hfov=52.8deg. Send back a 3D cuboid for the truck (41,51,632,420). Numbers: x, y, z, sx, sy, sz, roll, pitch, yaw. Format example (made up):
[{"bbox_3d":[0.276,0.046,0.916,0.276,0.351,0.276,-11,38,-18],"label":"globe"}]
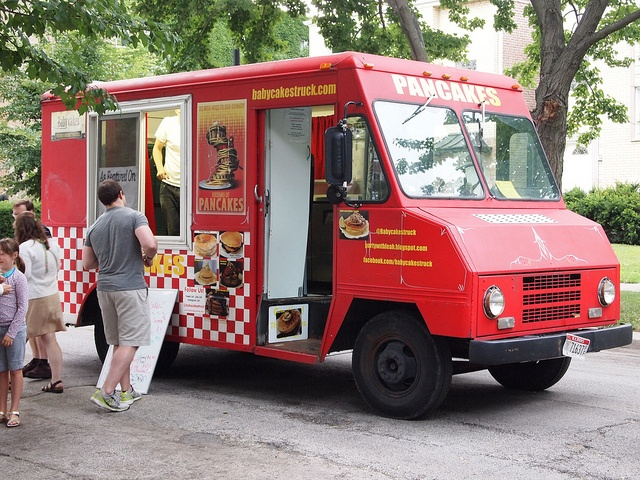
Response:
[{"bbox_3d":[-0.165,-0.243,8.254,6.511,3.644,3.569,-2,0,44],"label":"truck"}]

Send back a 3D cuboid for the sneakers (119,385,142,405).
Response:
[{"bbox_3d":[-2.085,1.715,7.117,0.094,0.111,0.241,2,1,21],"label":"sneakers"}]

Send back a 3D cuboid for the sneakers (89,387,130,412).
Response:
[{"bbox_3d":[-2.217,1.695,6.872,0.449,0.209,0.175,26,5,-29],"label":"sneakers"}]

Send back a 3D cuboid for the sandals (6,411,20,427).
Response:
[{"bbox_3d":[-3.025,1.747,6.366,0.125,0.152,0.203,-1,2,-23],"label":"sandals"}]

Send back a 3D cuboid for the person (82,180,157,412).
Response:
[{"bbox_3d":[-2.160,0.581,6.992,0.767,2.465,0.738,-1,2,-12],"label":"person"}]

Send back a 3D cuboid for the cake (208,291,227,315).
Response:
[{"bbox_3d":[-1.208,0.709,7.523,0.258,0.285,0.257,0,1,-32],"label":"cake"}]

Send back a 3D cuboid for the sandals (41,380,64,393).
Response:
[{"bbox_3d":[-3.131,1.707,7.586,0.242,0.110,0.116,3,0,41],"label":"sandals"}]
